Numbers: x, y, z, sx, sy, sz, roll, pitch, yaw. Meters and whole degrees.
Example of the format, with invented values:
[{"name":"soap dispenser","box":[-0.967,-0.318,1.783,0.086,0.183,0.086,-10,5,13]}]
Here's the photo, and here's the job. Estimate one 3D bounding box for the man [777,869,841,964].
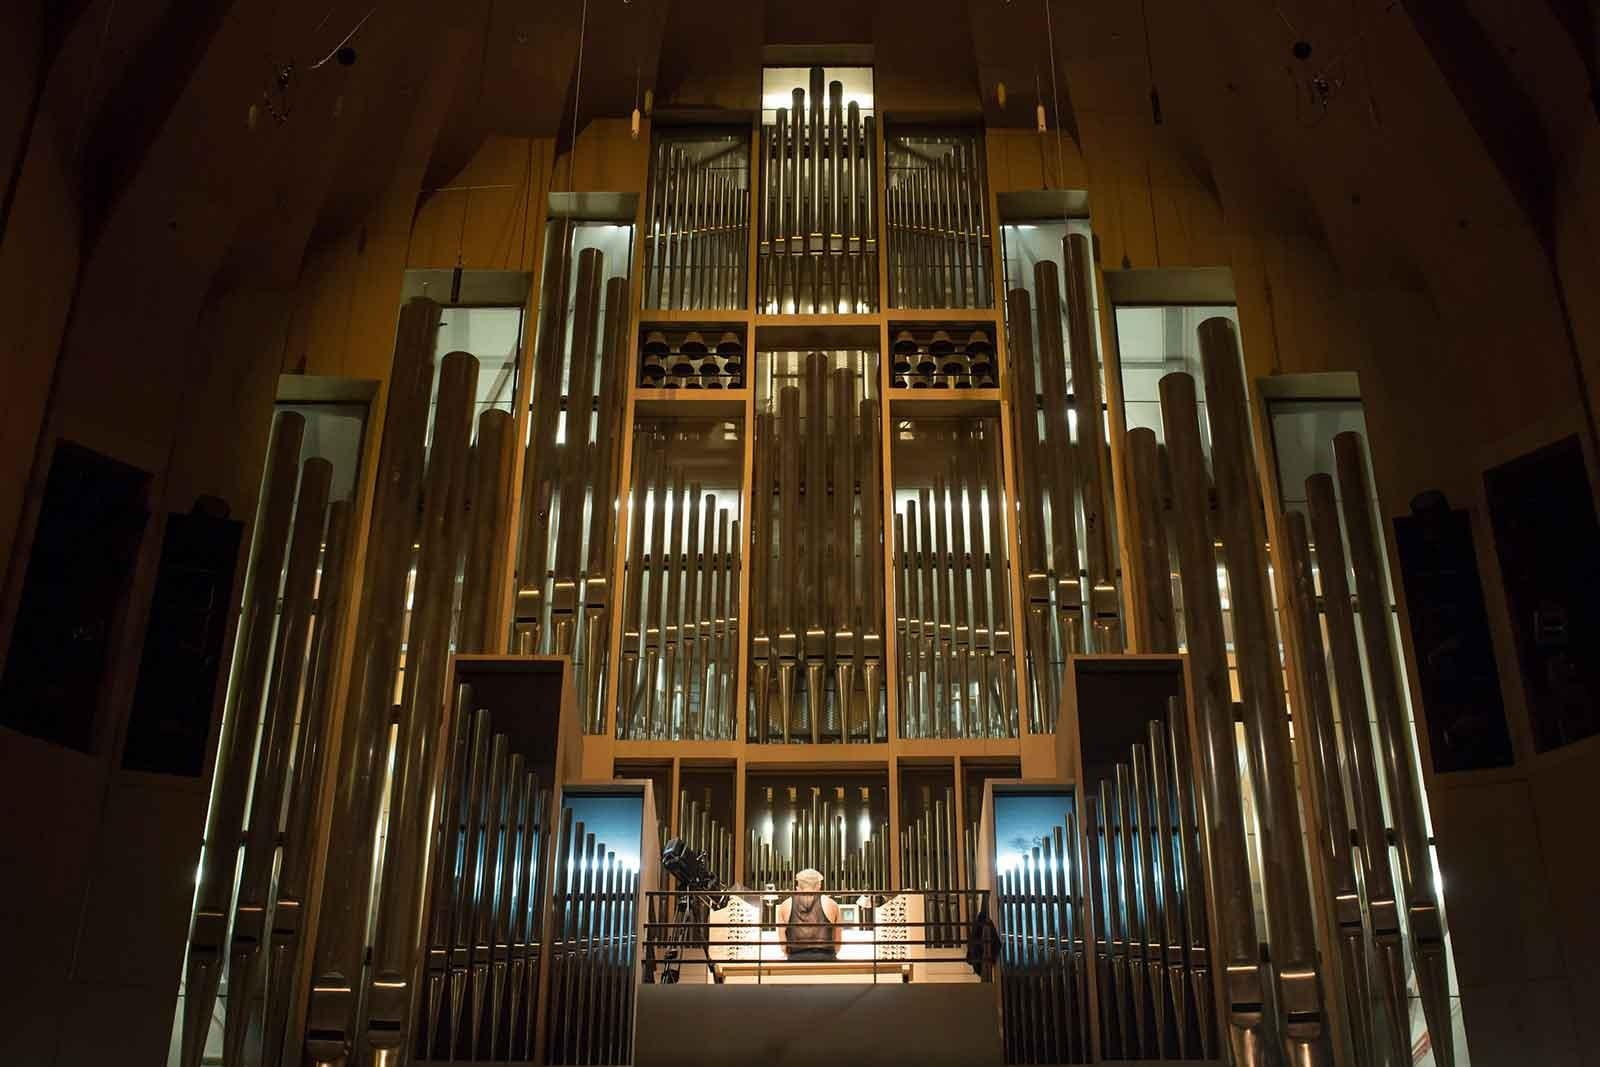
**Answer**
[{"name":"man","box":[0.082,2.879,8.807,0.485,0.809,0.548,0,-46,3]}]
